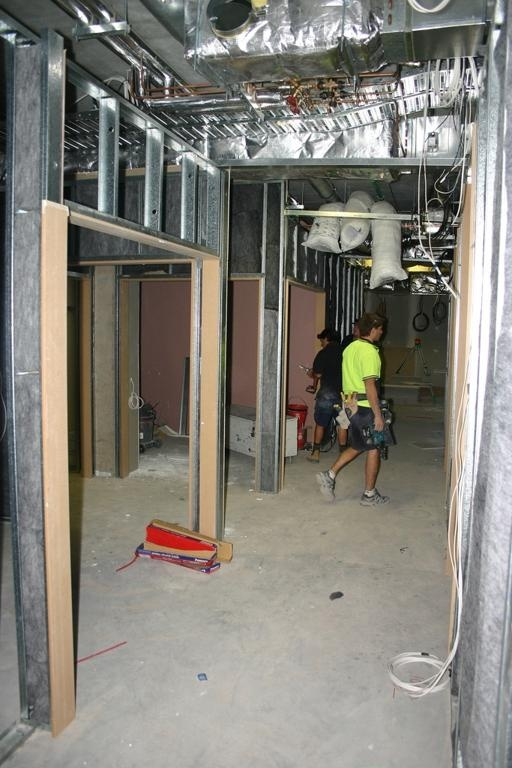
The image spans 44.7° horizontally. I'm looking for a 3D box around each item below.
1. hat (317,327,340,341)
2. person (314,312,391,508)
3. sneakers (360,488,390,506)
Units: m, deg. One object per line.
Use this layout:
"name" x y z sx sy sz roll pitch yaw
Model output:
"hat" 0.803 -0.564 6.944 0.187 0.149 0.141 -1 2 29
"person" 0.876 0.205 5.394 0.547 1.604 0.794 2 5 12
"sneakers" 0.996 0.948 5.343 0.285 0.187 0.098 -3 7 -22
